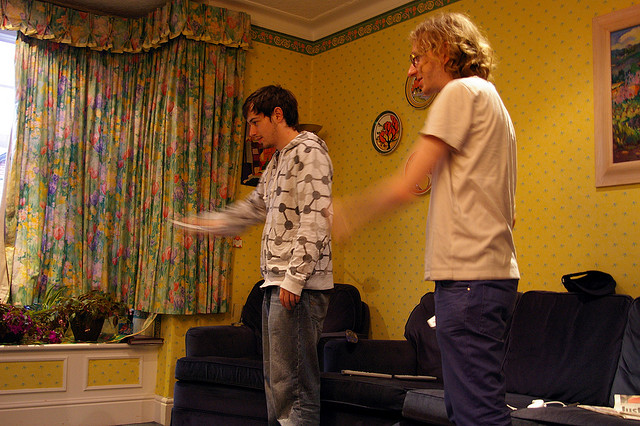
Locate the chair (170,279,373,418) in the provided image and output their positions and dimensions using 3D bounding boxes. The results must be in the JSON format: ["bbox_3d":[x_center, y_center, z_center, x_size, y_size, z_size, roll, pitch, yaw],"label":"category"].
[{"bbox_3d":[-0.278,1.285,4.803,1.514,1.514,1.493,-7,-19,28],"label":"chair"}]

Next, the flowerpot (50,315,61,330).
[{"bbox_3d":[-2.423,1.012,4.972,0.100,0.102,0.036,-33,0,-13],"label":"flowerpot"}]

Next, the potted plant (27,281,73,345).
[{"bbox_3d":[-2.472,0.903,5.000,0.344,0.560,0.294,4,-8,-24],"label":"potted plant"}]

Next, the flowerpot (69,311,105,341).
[{"bbox_3d":[-2.165,1.050,5.032,0.250,0.211,0.260,4,-16,-17],"label":"flowerpot"}]

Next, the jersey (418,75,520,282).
[{"bbox_3d":[0.710,-0.175,2.578,0.452,0.982,0.273,-1,-8,10],"label":"jersey"}]

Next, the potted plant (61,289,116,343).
[{"bbox_3d":[-2.199,0.965,5.109,0.424,0.359,0.451,-7,-12,28],"label":"potted plant"}]

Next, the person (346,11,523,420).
[{"bbox_3d":[0.611,-0.033,2.598,0.698,1.953,0.306,0,-8,4],"label":"person"}]

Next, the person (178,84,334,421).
[{"bbox_3d":[-0.290,0.228,3.431,0.725,2.114,0.581,2,-8,-11],"label":"person"}]

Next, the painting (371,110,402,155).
[{"bbox_3d":[0.657,-0.785,5.317,0.034,0.445,0.402,4,-10,-35],"label":"painting"}]
